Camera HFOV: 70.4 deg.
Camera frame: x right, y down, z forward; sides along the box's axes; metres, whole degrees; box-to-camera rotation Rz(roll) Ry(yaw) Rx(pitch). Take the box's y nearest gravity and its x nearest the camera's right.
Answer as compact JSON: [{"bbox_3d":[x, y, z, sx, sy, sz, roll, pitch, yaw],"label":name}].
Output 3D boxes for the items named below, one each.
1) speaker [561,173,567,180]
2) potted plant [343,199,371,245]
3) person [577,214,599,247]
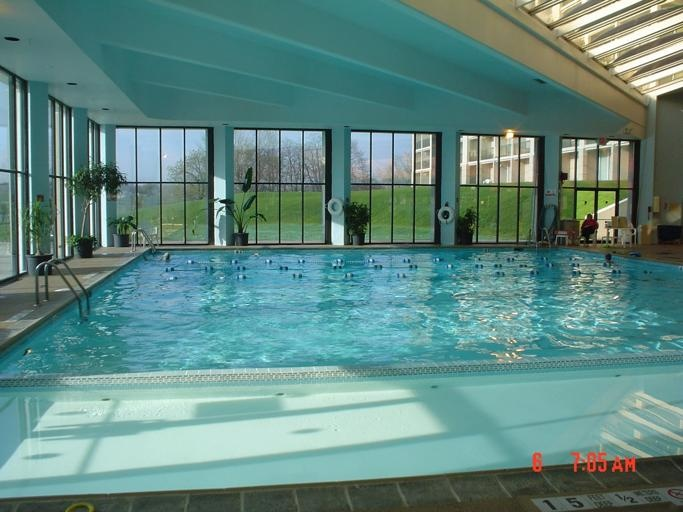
[{"bbox_3d":[9.370,-3.352,20.382,0.364,0.217,0.180,-1,0,-18],"label":"speaker"},{"bbox_3d":[0.589,-1.341,19.271,0.852,1.767,1.063,1,6,17],"label":"potted plant"},{"bbox_3d":[10.237,-1.109,19.989,0.632,1.249,1.369,2,6,25],"label":"person"}]
